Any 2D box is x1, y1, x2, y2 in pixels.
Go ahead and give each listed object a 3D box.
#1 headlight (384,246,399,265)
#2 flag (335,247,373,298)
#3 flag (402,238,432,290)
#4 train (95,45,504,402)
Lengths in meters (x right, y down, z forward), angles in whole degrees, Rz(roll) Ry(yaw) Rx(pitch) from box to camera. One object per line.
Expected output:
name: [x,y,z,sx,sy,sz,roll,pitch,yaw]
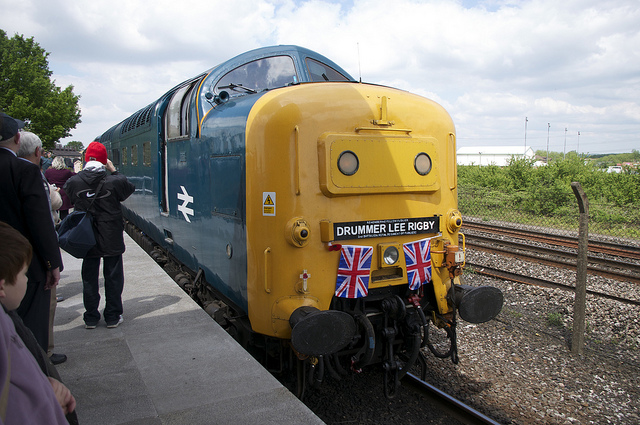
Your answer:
headlight: [0.837,0.508,4.562,0.191,0.201,0.098,4,4,-28]
flag: [0.374,0.678,4.438,0.527,0.732,0.068,3,1,-17]
flag: [1.170,0.613,4.706,0.556,0.729,0.074,-5,0,-28]
train: [-0.349,-0.080,5.397,5.087,4.387,2.413,14,19,41]
